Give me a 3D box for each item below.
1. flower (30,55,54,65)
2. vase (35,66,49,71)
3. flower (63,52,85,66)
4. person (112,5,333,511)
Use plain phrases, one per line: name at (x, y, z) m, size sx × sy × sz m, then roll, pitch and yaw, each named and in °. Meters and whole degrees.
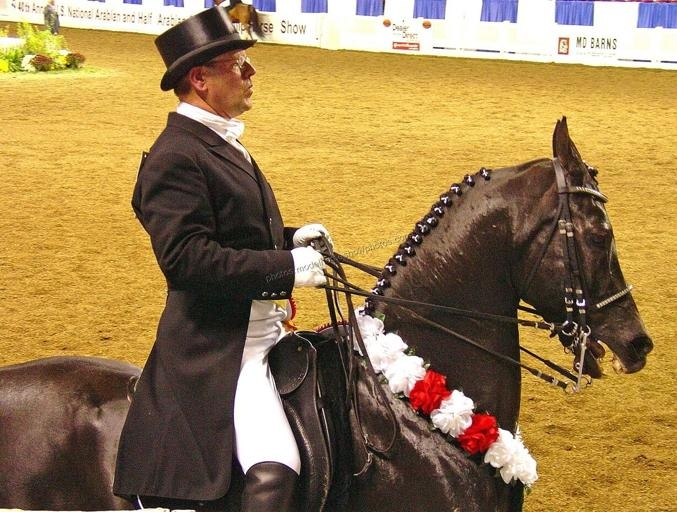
flower at (-5.848, -3.796, 18.358) m, size 0.413 × 0.223 × 0.206 m, roll 1°, pitch 10°, yaw -8°
vase at (-5.870, -3.685, 18.488) m, size 0.175 × 0.058 × 0.138 m, roll 0°, pitch -2°, yaw -3°
flower at (-5.178, -3.804, 18.342) m, size 0.348 × 0.279 × 0.314 m, roll -12°, pitch 32°, yaw -19°
person at (-0.706, -0.001, 5.814) m, size 1.252 × 3.087 × 1.056 m, roll 4°, pitch 12°, yaw 2°
